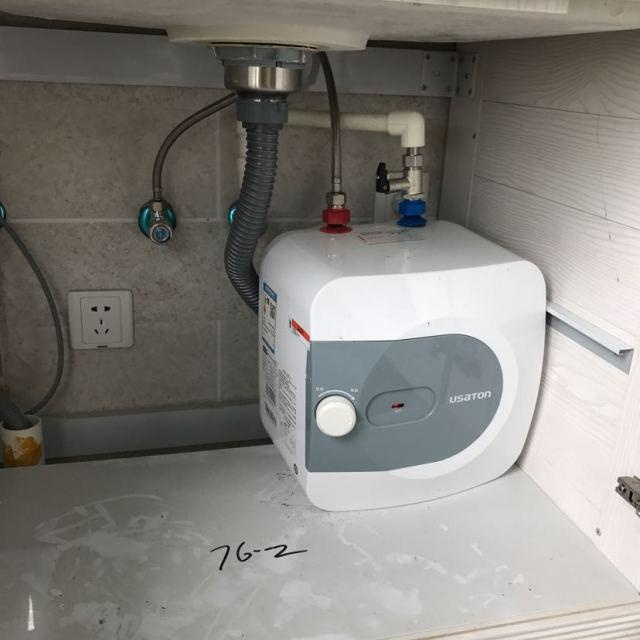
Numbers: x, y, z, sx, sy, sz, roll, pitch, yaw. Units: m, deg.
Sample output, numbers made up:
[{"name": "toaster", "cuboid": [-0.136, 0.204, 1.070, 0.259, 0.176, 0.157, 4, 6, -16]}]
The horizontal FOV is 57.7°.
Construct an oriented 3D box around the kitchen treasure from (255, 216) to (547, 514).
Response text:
[{"name": "kitchen treasure", "cuboid": [0.119, 0.061, 0.908, 0.363, 0.382, 0.305, -7, 25, -13]}]
